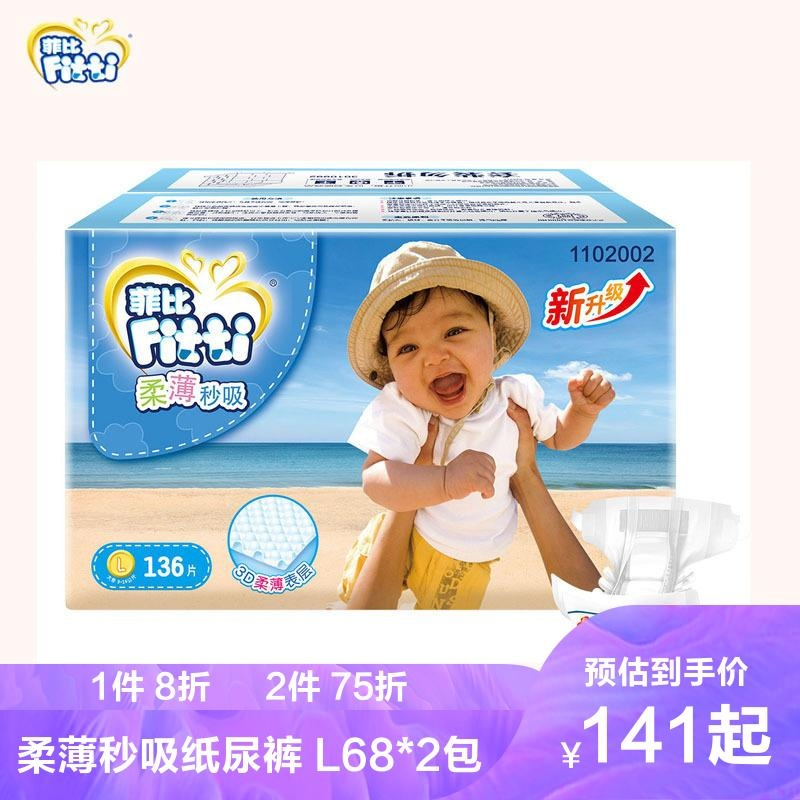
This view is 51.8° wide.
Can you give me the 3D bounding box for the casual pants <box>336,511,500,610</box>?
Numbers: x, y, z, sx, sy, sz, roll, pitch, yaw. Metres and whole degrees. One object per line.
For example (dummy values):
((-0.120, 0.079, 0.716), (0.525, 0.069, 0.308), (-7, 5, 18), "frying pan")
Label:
((0.048, 0.534, 2.698), (0.458, 0.388, 0.294), (10, 26, -36), "casual pants")
